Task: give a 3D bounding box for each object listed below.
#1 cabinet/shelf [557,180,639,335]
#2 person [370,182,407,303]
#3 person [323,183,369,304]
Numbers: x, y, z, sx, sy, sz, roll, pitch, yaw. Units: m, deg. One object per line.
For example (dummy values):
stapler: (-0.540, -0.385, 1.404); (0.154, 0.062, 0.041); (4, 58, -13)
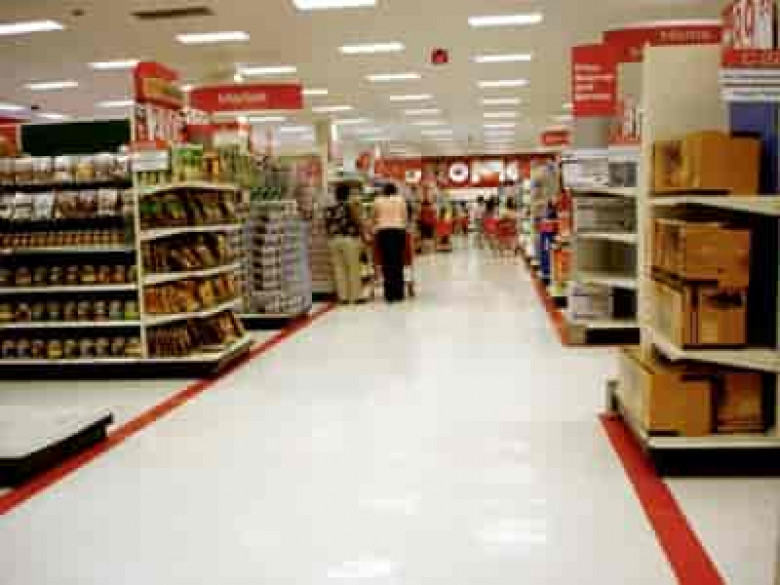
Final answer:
cabinet/shelf: (2.418, -0.380, 6.849); (0.643, 1.702, 1.875); (0, 5, 11)
person: (-0.007, -0.778, 9.490); (0.541, 1.909, 0.498); (-1, 8, 3)
person: (-0.709, -0.739, 9.437); (0.573, 1.916, 0.505); (-3, 8, -8)
